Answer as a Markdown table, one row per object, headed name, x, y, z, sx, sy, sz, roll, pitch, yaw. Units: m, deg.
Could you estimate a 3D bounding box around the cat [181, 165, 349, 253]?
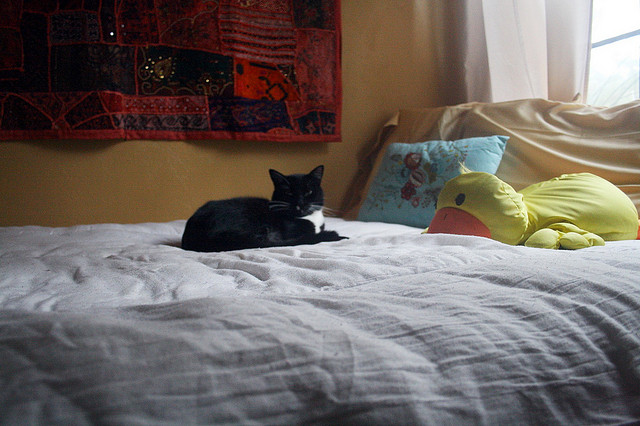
| name | x | y | z | sx | sy | sz | roll | pitch | yaw |
| --- | --- | --- | --- | --- | --- | --- | --- | --- | --- |
| cat | -0.213 | -0.017 | 2.111 | 0.561 | 0.260 | 0.325 | -4 | -2 | -19 |
